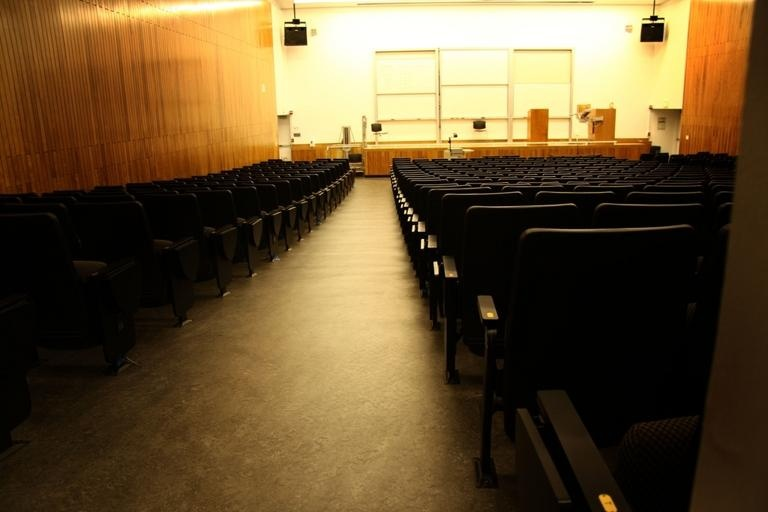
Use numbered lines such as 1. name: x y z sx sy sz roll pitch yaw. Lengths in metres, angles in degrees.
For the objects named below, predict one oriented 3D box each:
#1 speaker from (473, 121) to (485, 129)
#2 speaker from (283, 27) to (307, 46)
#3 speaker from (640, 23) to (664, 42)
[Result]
1. speaker: 3.354 -4.676 18.700 0.426 0.313 0.652 0 16 9
2. speaker: -2.993 -7.384 17.767 0.856 0.842 0.620 -2 14 -5
3. speaker: 9.089 -7.637 17.941 0.799 0.724 0.435 1 5 15
